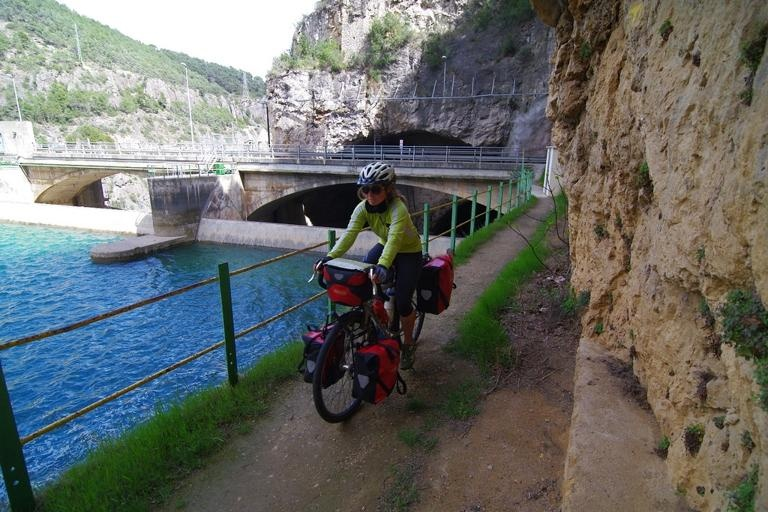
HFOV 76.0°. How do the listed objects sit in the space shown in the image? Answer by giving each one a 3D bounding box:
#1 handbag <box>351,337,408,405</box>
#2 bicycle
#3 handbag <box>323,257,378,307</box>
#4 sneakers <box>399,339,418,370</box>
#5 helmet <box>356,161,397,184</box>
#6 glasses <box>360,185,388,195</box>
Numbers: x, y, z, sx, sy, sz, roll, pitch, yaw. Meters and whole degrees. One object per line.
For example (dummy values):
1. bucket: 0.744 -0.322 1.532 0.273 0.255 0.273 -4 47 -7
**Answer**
1. handbag: -0.028 1.159 5.311 0.580 0.668 0.669 10 21 26
2. bicycle: -0.508 0.866 5.367 0.877 1.312 2.024 1 9 29
3. handbag: -0.336 0.154 5.129 0.545 0.466 0.418 17 24 17
4. sneakers: 0.301 1.177 5.954 0.137 0.190 0.403 0 12 16
5. helmet: -0.025 -0.896 5.265 0.242 0.150 0.353 10 20 30
6. glasses: -0.116 -0.716 5.275 0.281 0.134 0.138 5 15 1
